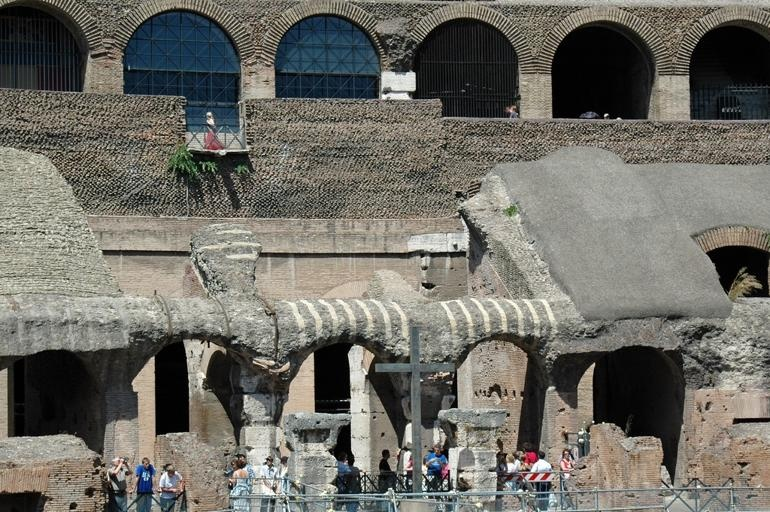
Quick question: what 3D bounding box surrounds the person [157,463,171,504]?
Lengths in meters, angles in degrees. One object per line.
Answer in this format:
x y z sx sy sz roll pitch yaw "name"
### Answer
-4.840 5.062 57.239 0.270 0.710 0.533 8 -1 1 "person"
